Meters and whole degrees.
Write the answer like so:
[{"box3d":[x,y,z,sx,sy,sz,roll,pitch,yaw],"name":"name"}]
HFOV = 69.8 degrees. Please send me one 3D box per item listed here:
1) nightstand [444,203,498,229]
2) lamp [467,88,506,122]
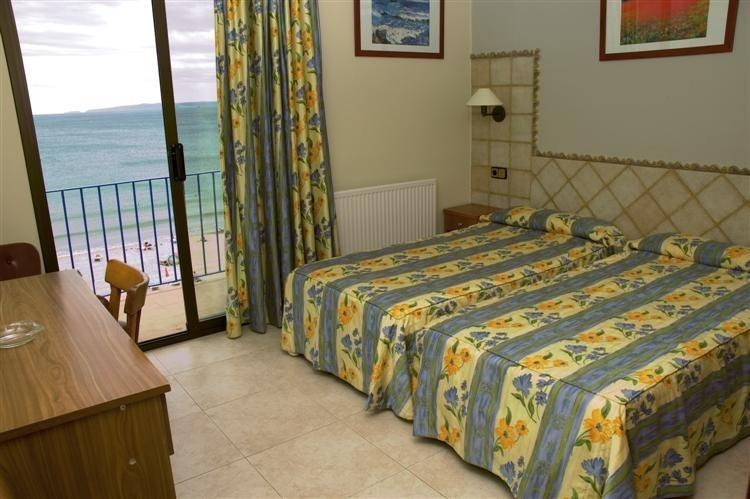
[{"box3d":[0.959,-0.351,5.485,0.307,0.349,0.346,-15,24,-37],"name":"nightstand"},{"box3d":[1.092,-1.406,5.329,0.374,0.324,0.325,-18,25,-40],"name":"lamp"}]
